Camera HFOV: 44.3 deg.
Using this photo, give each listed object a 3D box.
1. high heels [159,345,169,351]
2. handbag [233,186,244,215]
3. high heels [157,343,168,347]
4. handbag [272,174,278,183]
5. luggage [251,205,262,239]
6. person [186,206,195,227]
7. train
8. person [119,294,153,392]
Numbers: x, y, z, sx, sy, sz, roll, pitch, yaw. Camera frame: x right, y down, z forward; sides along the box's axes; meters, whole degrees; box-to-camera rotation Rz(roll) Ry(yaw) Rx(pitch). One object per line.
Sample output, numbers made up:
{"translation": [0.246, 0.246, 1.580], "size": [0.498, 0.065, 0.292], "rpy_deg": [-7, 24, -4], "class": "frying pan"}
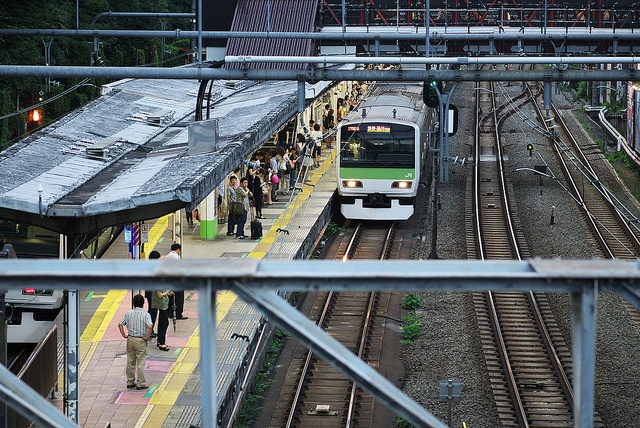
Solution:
{"translation": [-3.491, 2.983, 17.536], "size": [0.088, 0.096, 0.231], "rpy_deg": [-2, 1, -43], "class": "high heels"}
{"translation": [-2.493, -0.386, 23.883], "size": [0.325, 0.936, 0.546], "rpy_deg": [-1, 6, -7], "class": "handbag"}
{"translation": [-3.535, 2.936, 17.597], "size": [0.204, 0.083, 0.075], "rpy_deg": [-1, 11, 6], "class": "high heels"}
{"translation": [-1.598, -1.232, 27.415], "size": [0.220, 0.356, 0.671], "rpy_deg": [0, 7, 0], "class": "handbag"}
{"translation": [-1.941, 0.391, 24.498], "size": [0.455, 0.926, 0.606], "rpy_deg": [0, 8, 3], "class": "luggage"}
{"translation": [-4.315, 0.119, 25.918], "size": [0.232, 0.465, 0.914], "rpy_deg": [-1, 7, -10], "class": "person"}
{"translation": [2.336, -2.065, 28.354], "size": [2.733, 4.567, 4.012], "rpy_deg": [1, 6, 11], "class": "train"}
{"translation": [-3.780, 2.590, 16.029], "size": [0.606, 2.010, 0.691], "rpy_deg": [-2, 6, -16], "class": "person"}
